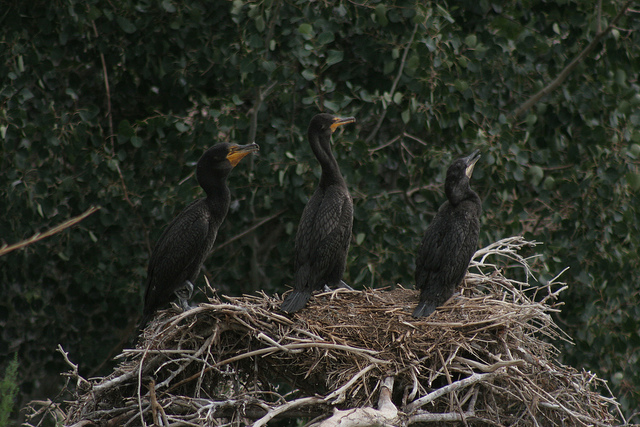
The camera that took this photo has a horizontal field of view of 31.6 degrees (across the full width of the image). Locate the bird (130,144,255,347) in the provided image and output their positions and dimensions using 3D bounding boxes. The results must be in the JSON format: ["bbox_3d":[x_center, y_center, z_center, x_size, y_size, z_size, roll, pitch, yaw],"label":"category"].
[{"bbox_3d":[-1.118,0.205,9.877,0.637,1.701,0.384,12,2,-7],"label":"bird"}]

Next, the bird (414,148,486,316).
[{"bbox_3d":[1.116,0.143,9.903,0.411,1.489,0.648,14,2,41],"label":"bird"}]

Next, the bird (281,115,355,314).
[{"bbox_3d":[0.018,-0.007,9.932,0.538,1.730,0.734,12,2,-2],"label":"bird"}]
